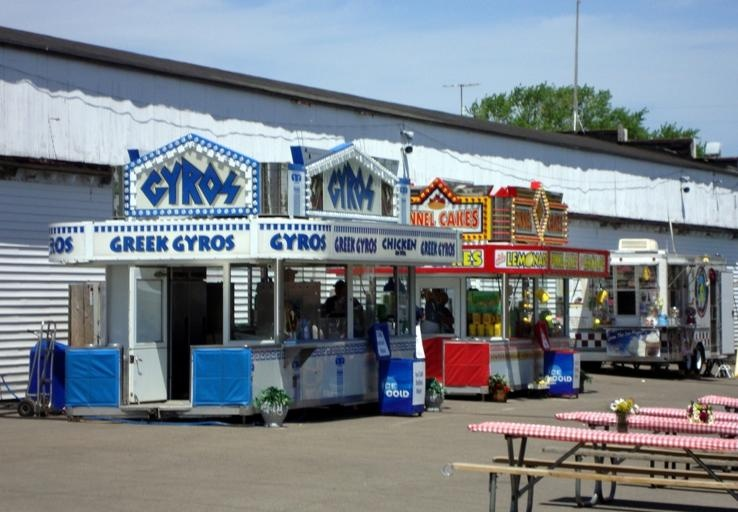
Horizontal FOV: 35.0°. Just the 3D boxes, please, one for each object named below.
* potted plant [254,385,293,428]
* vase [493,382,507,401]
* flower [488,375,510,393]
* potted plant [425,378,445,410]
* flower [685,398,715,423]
[{"bbox_3d":[-1.908,2.968,23.061,0.618,0.746,0.678,0,-1,-12],"label":"potted plant"},{"bbox_3d":[3.065,3.206,27.236,0.344,0.437,0.332,-6,-10,-1],"label":"vase"},{"bbox_3d":[3.037,2.976,27.350,0.369,0.463,0.419,-3,5,-41],"label":"flower"},{"bbox_3d":[1.415,3.049,25.799,0.507,0.643,0.544,-1,2,-25],"label":"potted plant"},{"bbox_3d":[5.401,2.563,19.184,0.355,0.232,0.415,1,4,-36],"label":"flower"}]
